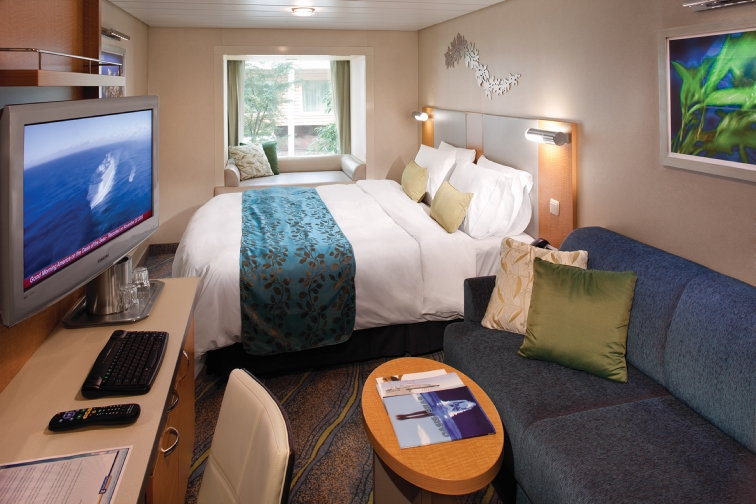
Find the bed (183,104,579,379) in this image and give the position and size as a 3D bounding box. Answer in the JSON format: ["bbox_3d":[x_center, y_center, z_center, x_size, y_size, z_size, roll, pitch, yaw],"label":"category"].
[{"bbox_3d":[0.586,0.327,4.537,2.489,1.325,2.520,-6,-16,17],"label":"bed"}]

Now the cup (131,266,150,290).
[{"bbox_3d":[-1.149,0.125,2.483,0.064,0.122,0.118,7,11,15],"label":"cup"}]

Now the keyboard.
[{"bbox_3d":[-0.997,0.435,2.027,0.248,0.065,0.434,2,19,-11],"label":"keyboard"}]

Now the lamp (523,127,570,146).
[{"bbox_3d":[1.162,-0.798,3.506,0.237,0.079,0.130,15,24,37],"label":"lamp"}]
